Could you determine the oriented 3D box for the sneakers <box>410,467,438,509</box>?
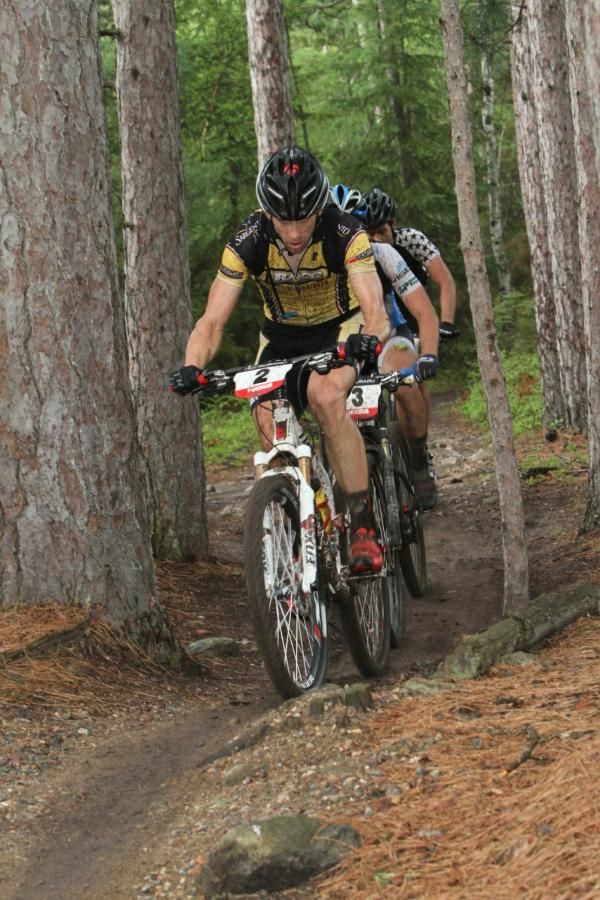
[{"bbox_3d":[0.938,0.300,6.720,0.174,0.241,0.416,-2,34,6],"label":"sneakers"}]

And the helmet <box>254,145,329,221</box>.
[{"bbox_3d":[-0.043,-1.204,4.034,0.319,0.311,0.334,-10,4,5],"label":"helmet"}]

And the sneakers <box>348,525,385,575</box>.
[{"bbox_3d":[0.302,0.476,4.137,0.097,0.117,0.272,-1,6,8],"label":"sneakers"}]

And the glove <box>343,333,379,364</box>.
[{"bbox_3d":[0.269,-0.441,3.837,0.136,0.106,0.242,-10,4,12],"label":"glove"}]

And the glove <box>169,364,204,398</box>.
[{"bbox_3d":[-0.506,-0.315,4.011,0.148,0.121,0.185,-11,4,-6],"label":"glove"}]

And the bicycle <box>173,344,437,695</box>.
[{"bbox_3d":[0.177,0.331,4.421,0.948,1.304,2.101,-9,4,16],"label":"bicycle"}]
